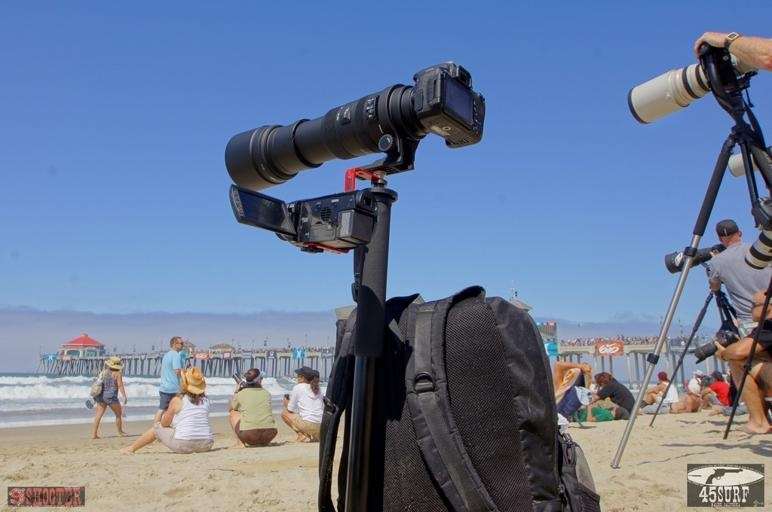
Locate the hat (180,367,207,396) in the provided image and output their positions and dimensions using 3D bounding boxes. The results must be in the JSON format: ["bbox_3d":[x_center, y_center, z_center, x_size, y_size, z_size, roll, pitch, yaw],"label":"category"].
[{"bbox_3d":[-3.243,2.069,9.160,0.421,0.492,0.185,8,-33,-44],"label":"hat"}]

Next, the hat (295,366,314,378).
[{"bbox_3d":[-1.512,2.240,10.563,0.330,0.268,0.511,4,-8,-27],"label":"hat"}]

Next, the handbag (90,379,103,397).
[{"bbox_3d":[-6.074,2.791,11.591,0.237,0.322,0.204,-3,-8,26],"label":"handbag"}]

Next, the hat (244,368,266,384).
[{"bbox_3d":[-2.389,2.177,10.020,0.395,0.300,0.211,-12,-13,-2],"label":"hat"}]

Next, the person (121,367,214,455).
[{"bbox_3d":[-3.614,2.673,9.554,1.577,1.506,1.181,-10,-17,35],"label":"person"}]

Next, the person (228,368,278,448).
[{"bbox_3d":[-2.500,2.870,10.452,0.920,1.358,1.045,-4,-18,-5],"label":"person"}]
